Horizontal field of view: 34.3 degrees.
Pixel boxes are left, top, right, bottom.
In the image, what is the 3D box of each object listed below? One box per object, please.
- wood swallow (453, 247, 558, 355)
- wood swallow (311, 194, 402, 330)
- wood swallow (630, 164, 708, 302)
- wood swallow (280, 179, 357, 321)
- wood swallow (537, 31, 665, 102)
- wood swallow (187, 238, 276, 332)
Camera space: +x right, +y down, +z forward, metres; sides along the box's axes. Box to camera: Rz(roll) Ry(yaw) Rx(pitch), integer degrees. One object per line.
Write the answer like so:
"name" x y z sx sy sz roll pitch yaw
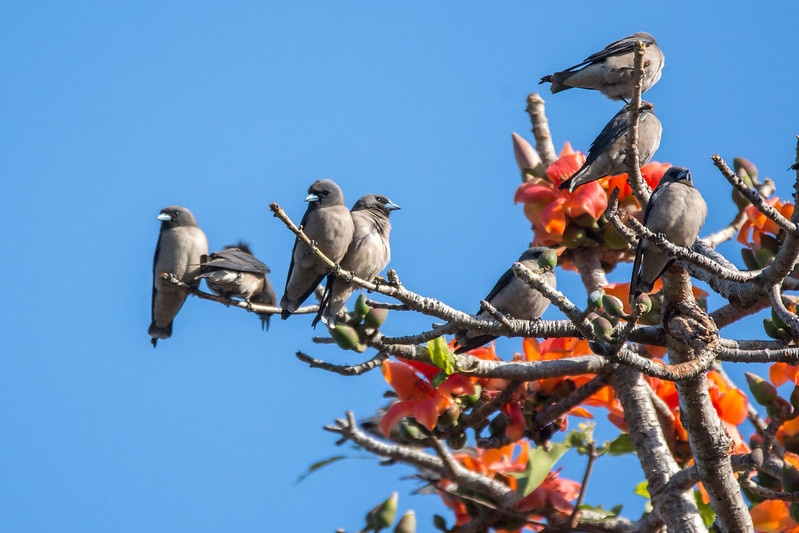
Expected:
"wood swallow" 0.869 0.250 10.241 0.857 0.816 0.445 -24 -60 33
"wood swallow" -0.332 -0.090 10.724 0.902 0.929 0.465 -30 -46 35
"wood swallow" 1.817 -0.263 8.782 0.360 0.755 0.743 23 -52 -2
"wood swallow" -0.681 -0.177 10.546 0.590 1.806 0.791 4 -79 3
"wood swallow" 1.494 -1.472 9.526 0.864 0.562 0.461 -1 -33 8
"wood swallow" -1.436 0.050 11.342 0.444 0.606 1.224 -14 -35 21
